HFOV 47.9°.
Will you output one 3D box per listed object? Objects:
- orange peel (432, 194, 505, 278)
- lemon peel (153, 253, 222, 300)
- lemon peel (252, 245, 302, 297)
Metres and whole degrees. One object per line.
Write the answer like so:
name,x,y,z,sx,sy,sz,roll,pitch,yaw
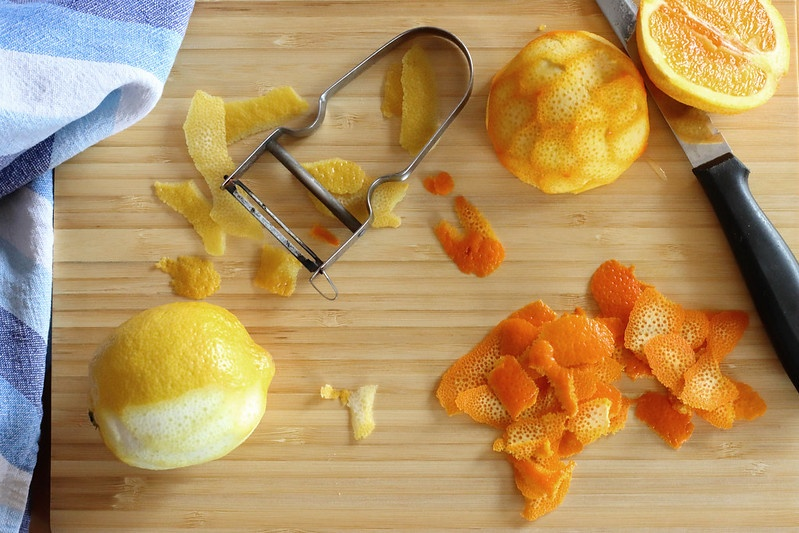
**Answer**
orange peel,0.167,-0.059,2.102,0.153,0.038,0.209,-40,88,7
lemon peel,-0.498,0.030,2.116,0.120,0.061,0.131,-8,28,-5
lemon peel,-0.290,0.015,2.105,0.144,0.031,0.112,23,93,7
